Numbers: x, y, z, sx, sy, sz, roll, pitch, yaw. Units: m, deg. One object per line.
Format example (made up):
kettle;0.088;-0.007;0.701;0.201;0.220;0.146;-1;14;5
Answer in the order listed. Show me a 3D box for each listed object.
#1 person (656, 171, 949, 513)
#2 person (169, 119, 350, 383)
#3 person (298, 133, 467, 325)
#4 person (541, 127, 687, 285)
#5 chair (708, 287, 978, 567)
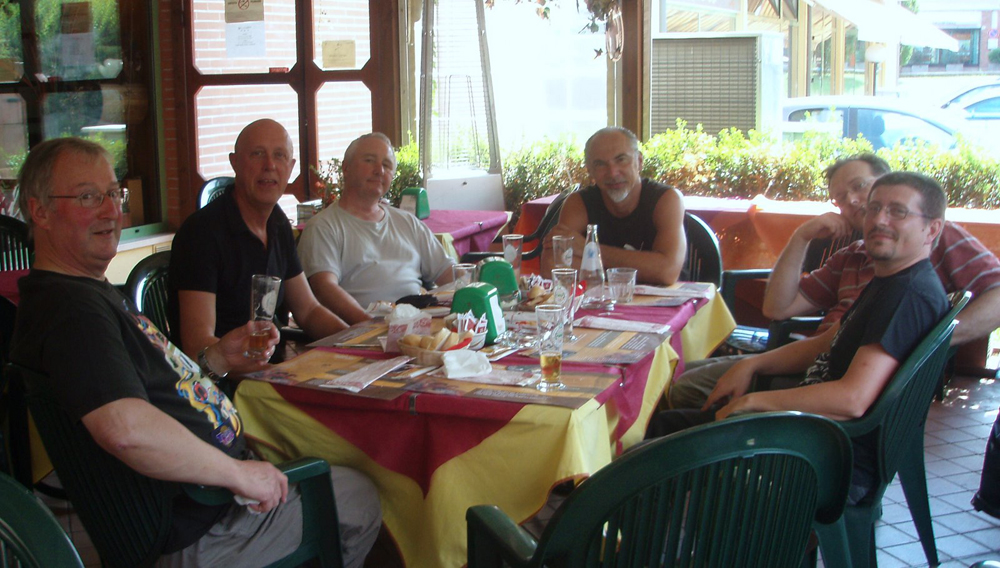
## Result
person;1.308;0.289;3.380;1.316;1.620;0.839;12;8;19
person;-1.190;-0.188;3.588;0.910;1.239;1.001;11;10;19
person;-0.698;-0.275;4.197;0.953;1.108;0.827;-2;5;-40
person;0.720;-0.483;4.392;0.897;0.876;0.651;2;6;26
chair;1.465;0.688;3.487;1.191;1.517;1.144;0;8;25
